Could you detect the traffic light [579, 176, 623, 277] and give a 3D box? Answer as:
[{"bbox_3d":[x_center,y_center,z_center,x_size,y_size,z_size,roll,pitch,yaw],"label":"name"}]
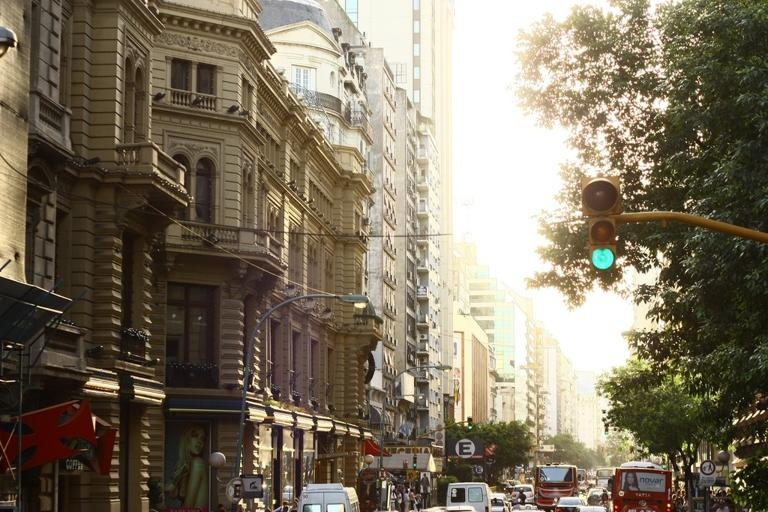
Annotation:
[{"bbox_3d":[6.573,-0.927,46.872,0.995,2.909,0.936,0,1,4],"label":"traffic light"}]
